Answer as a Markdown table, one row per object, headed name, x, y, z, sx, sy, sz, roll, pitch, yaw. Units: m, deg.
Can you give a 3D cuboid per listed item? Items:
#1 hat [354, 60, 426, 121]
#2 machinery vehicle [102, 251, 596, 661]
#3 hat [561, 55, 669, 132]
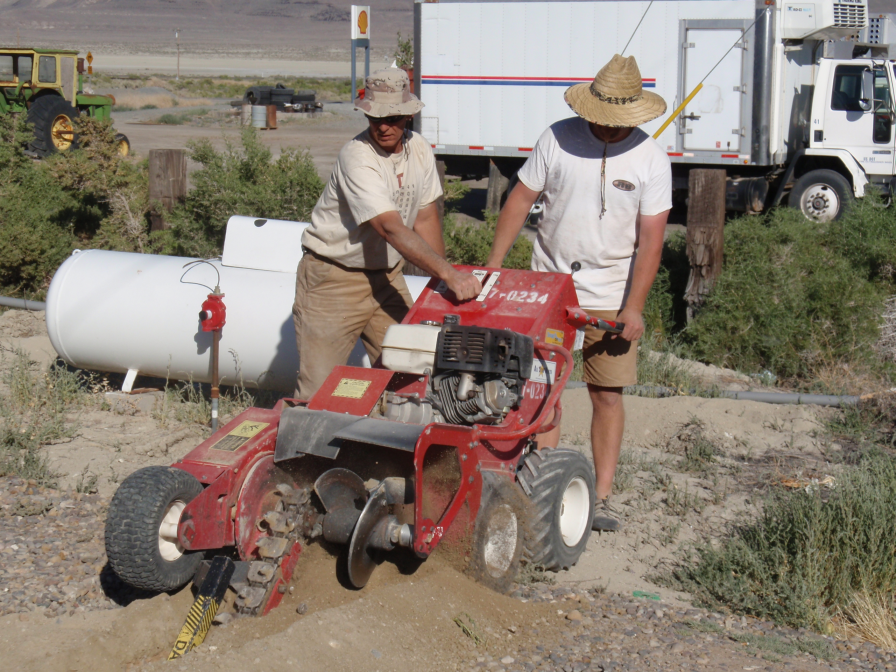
| name | x | y | z | sx | sy | sz | roll | pitch | yaw |
| --- | --- | --- | --- | --- | --- | --- | --- | --- | --- |
| hat | -0.391 | -1.616 | 7.100 | 0.423 | 0.328 | 0.497 | 1 | 13 | -6 |
| machinery vehicle | -0.355 | 0.599 | 6.988 | 3.503 | 2.039 | 2.496 | -4 | 11 | -25 |
| hat | 1.141 | -1.724 | 7.172 | 0.653 | 0.400 | 0.766 | 25 | 38 | 32 |
